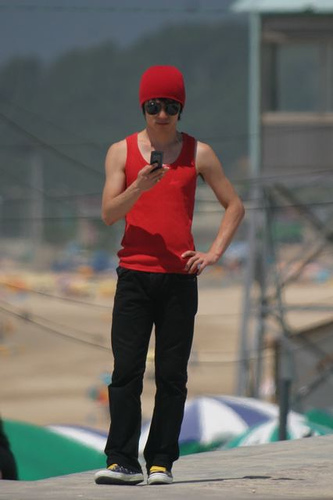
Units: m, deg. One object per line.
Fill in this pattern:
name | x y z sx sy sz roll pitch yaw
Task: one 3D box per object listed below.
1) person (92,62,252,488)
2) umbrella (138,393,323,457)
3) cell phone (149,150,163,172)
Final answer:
person | -0.009 0.110 3.818 0.448 1.822 0.569 -5 -5 43
umbrella | 0.384 1.005 5.015 0.679 0.189 0.596 -2 -4 -10
cell phone | -0.039 -0.377 3.620 0.052 0.106 0.133 -2 -3 0
